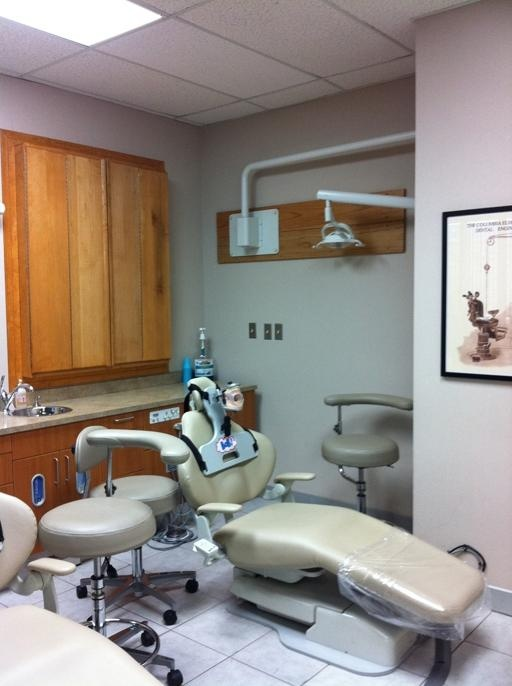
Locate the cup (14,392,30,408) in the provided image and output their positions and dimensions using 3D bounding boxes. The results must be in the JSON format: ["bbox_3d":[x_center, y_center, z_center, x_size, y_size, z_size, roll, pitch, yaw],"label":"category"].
[{"bbox_3d":[-1.227,0.297,3.098,0.083,0.099,0.105,-3,9,-18],"label":"cup"}]

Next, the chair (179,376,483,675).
[{"bbox_3d":[0.306,0.688,2.448,1.343,0.969,0.813,6,11,38],"label":"chair"}]

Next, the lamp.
[{"bbox_3d":[0.573,-0.686,3.184,0.543,0.300,0.255,12,31,26],"label":"lamp"}]
